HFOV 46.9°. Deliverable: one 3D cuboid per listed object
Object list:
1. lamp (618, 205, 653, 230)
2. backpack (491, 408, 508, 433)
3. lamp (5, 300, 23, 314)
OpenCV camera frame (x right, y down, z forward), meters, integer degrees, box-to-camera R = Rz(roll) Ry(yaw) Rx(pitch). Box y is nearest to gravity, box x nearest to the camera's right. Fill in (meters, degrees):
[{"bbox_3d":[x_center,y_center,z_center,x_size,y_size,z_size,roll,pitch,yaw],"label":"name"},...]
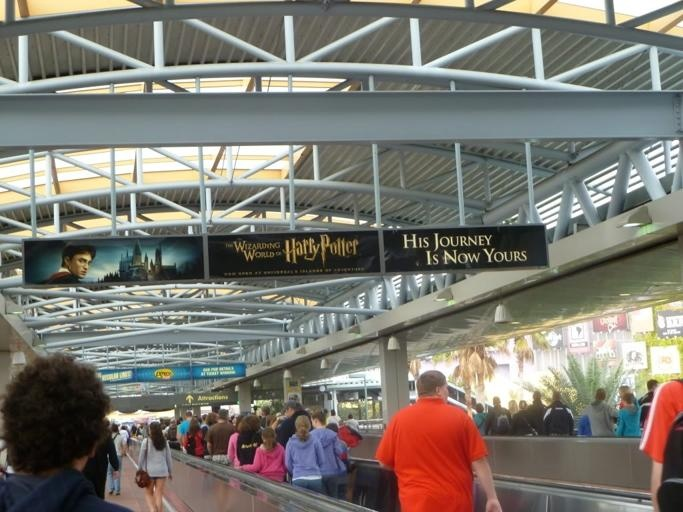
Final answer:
[{"bbox_3d":[4.988,-0.633,13.472,0.369,0.345,0.519,1,-13,-19],"label":"lamp"},{"bbox_3d":[4.408,4.705,22.139,0.593,0.801,0.430,3,-33,-1],"label":"backpack"},{"bbox_3d":[-11.878,1.916,28.294,0.646,0.395,0.666,6,-11,-31],"label":"lamp"}]
